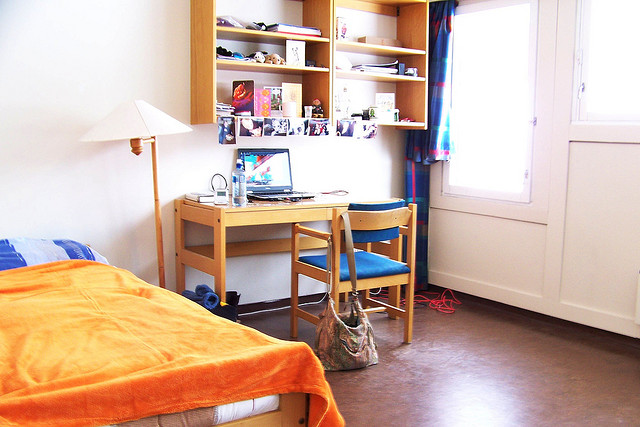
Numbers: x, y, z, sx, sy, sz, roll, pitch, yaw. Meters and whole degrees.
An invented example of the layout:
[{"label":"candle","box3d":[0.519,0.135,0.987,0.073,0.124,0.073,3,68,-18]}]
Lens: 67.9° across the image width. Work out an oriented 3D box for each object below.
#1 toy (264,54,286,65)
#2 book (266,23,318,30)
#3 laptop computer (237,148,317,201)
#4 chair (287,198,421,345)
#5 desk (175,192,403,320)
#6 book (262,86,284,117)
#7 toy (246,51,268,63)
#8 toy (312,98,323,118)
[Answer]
[{"label":"toy","box3d":[-0.362,-1.237,3.804,0.172,0.081,0.124,-1,13,-6]},{"label":"book","box3d":[-0.245,-1.543,3.911,0.213,0.029,0.191,-4,14,-25]},{"label":"laptop computer","box3d":[-0.355,-0.320,3.899,0.581,0.378,0.472,-4,16,-33]},{"label":"chair","box3d":[0.243,0.450,3.681,0.889,1.074,0.916,2,4,38]},{"label":"desk","box3d":[-0.235,0.403,4.022,1.704,1.042,0.901,-2,6,-36]},{"label":"book","box3d":[-0.381,-0.932,3.943,0.159,0.251,0.240,-1,13,-5]},{"label":"toy","box3d":[-0.515,-1.240,3.776,0.145,0.088,0.191,-1,13,-8]},{"label":"toy","box3d":[-0.038,-0.899,4.034,0.092,0.162,0.092,-8,16,-33]}]
